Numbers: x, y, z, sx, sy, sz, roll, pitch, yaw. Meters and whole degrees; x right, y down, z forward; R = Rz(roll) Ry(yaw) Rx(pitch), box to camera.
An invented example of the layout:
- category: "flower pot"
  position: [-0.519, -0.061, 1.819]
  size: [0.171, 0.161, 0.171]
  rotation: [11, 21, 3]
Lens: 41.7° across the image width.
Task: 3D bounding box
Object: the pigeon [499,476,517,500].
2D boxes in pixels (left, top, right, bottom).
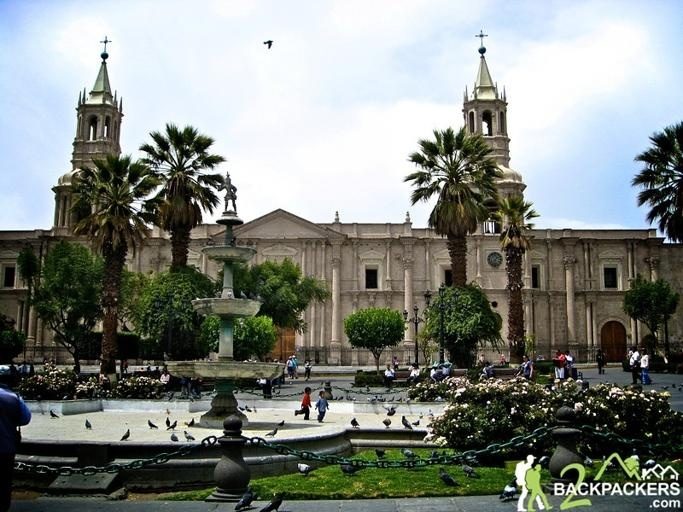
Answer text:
- category: "pigeon"
  position: [3.470, 4.839, 18.534]
  size: [0.361, 0.407, 0.478]
  rotation: [-3, -7, 12]

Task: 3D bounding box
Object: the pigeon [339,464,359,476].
- category: "pigeon"
  position: [0.199, 4.914, 20.626]
  size: [0.391, 0.260, 0.553]
  rotation: [-2, -7, 2]

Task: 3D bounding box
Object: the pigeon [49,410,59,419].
- category: "pigeon"
  position: [-8.965, 4.946, 27.994]
  size: [0.122, 0.171, 0.244]
  rotation: [-24, -32, 27]

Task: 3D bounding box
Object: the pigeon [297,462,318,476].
- category: "pigeon"
  position: [-0.890, 5.022, 21.056]
  size: [0.568, 0.359, 0.210]
  rotation: [-21, -32, 21]
